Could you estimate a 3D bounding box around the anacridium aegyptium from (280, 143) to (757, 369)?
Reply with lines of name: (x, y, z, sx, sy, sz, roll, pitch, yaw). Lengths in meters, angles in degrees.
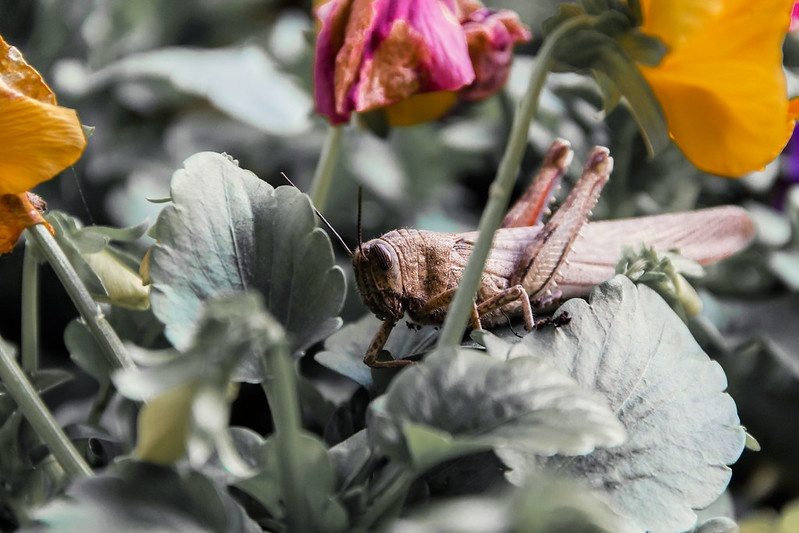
anacridium aegyptium: (0.160, -0.022, 1.356, 0.477, 0.219, 0.182, -6, 10, -9)
